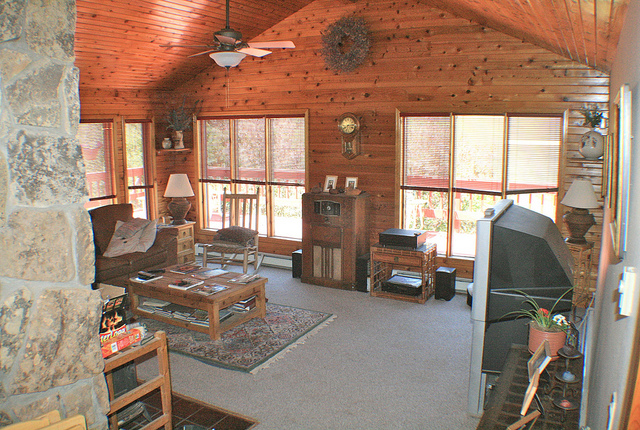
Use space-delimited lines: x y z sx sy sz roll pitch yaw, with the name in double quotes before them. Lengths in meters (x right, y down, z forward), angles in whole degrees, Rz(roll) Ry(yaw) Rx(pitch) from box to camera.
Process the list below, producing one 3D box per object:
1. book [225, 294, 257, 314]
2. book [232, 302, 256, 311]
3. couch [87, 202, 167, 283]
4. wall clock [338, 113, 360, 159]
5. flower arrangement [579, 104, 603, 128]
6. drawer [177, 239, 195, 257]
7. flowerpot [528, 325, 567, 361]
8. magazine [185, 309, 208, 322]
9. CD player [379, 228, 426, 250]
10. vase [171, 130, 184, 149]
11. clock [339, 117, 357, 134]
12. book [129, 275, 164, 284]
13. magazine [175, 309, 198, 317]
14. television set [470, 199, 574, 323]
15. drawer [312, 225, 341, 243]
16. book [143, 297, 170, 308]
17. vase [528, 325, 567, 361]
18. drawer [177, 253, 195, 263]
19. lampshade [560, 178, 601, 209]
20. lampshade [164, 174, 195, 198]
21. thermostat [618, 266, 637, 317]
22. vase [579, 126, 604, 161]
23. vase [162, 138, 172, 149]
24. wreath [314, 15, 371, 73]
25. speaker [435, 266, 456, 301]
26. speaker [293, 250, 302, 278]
"book" -0.949 1.112 5.900 0.294 0.079 0.303 5 10 45
"book" -0.950 1.126 5.864 0.218 0.040 0.216 5 7 43
"couch" -2.687 0.408 6.634 0.907 0.710 1.232 8 14 38
"wall clock" 0.485 -1.225 7.343 0.347 0.671 0.176 4 5 35
"flower arrangement" 3.372 -1.245 5.945 0.246 0.314 0.281 2 4 18
"drawer" -2.349 0.561 8.396 0.287 0.250 0.455 2 8 18
"flowerpot" 1.684 0.933 3.576 0.316 0.209 0.283 1 0 18
"magazine" -1.398 1.183 5.588 0.173 0.038 0.161 1 7 35
"CD player" 1.206 0.299 6.766 0.506 0.135 0.315 5 13 24
"vase" -2.590 -1.378 8.694 0.197 0.330 0.170 1 4 -8
"clock" 0.425 -1.372 7.270 0.280 0.218 0.075 -5 11 34
"book" -2.163 0.797 5.884 0.382 0.056 0.286 1 3 0
"magazine" -1.561 1.150 5.579 0.155 0.027 0.132 3 4 20
"television set" 1.780 0.378 4.228 0.805 0.823 1.042 8 17 26
"drawer" 0.092 0.289 7.182 0.527 0.246 0.276 7 15 30
"book" -1.955 1.062 5.754 0.243 0.042 0.197 4 1 8
"vase" 1.706 0.959 3.584 0.251 0.217 0.114 2 4 21
"drawer" -2.347 0.767 8.416 0.165 0.142 0.272 4 9 23
"lampshade" 3.052 -0.255 5.610 0.306 0.360 0.236 0 4 -9
"lampshade" -2.336 -0.516 8.145 0.505 0.341 0.429 -2 11 -3
"thermostat" 1.301 0.325 2.026 0.046 0.212 0.214 4 4 28
"vase" 3.231 -0.850 5.690 0.246 0.325 0.118 3 5 24
"vase" -2.765 -1.309 8.642 0.152 0.204 0.128 0 4 -14
"wreath" 0.384 -2.593 7.149 0.746 0.833 0.184 2 5 21
"speaker" 1.743 0.962 6.681 0.242 0.445 0.269 3 4 24
"speaker" -0.340 0.790 7.531 0.099 0.430 0.250 -2 5 -32
